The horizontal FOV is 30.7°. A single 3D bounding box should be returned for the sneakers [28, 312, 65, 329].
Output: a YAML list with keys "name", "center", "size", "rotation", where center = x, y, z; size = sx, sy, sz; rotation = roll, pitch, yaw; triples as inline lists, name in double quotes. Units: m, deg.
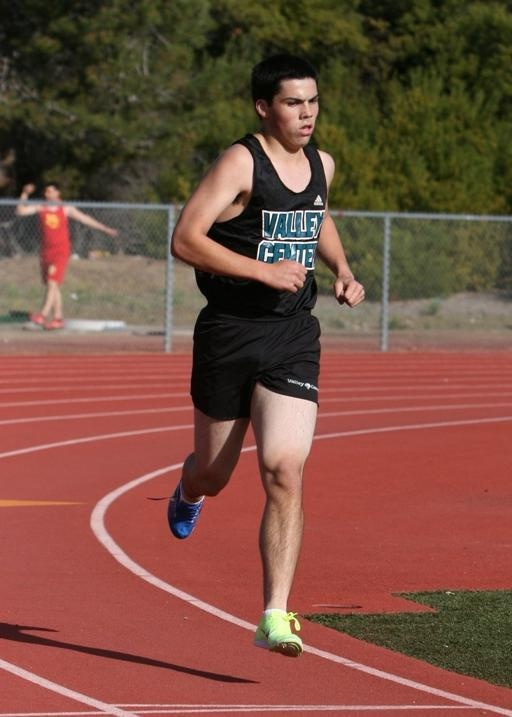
- name: "sneakers"
  center: [-2.641, -0.462, 11.860]
  size: [0.410, 0.181, 0.149]
  rotation: [21, -11, -32]

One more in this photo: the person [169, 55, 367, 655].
- name: "person"
  center: [0.047, 0.008, 2.885]
  size: [0.595, 1.908, 1.044]
  rotation: [0, 4, -1]

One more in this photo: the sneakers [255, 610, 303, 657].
- name: "sneakers"
  center: [0.077, 0.752, 2.535]
  size: [0.080, 0.087, 0.202]
  rotation: [8, -15, -18]
